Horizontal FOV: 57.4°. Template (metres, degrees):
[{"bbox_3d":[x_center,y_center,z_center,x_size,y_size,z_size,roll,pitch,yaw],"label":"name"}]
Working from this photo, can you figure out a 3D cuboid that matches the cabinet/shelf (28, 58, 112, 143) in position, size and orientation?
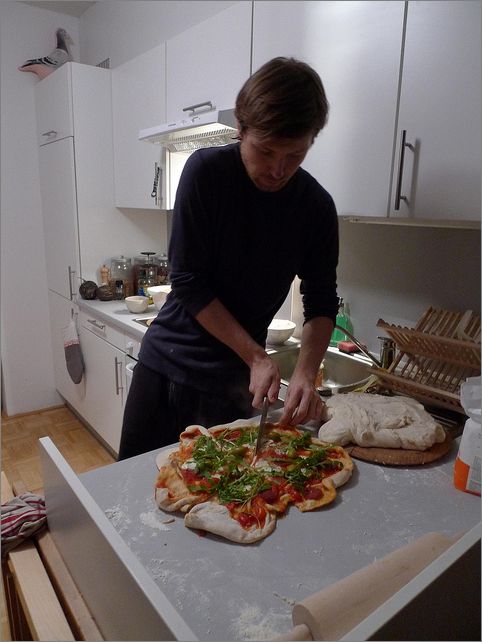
[{"bbox_3d":[-1.090,-1.332,2.740,0.652,0.401,0.240,13,18,36],"label":"cabinet/shelf"}]

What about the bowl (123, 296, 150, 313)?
[{"bbox_3d":[-0.579,-0.116,2.440,0.094,0.073,0.099,6,18,-2],"label":"bowl"}]

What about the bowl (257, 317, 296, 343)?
[{"bbox_3d":[0.176,0.033,1.890,0.103,0.058,0.107,1,32,-1],"label":"bowl"}]

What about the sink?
[{"bbox_3d":[0.321,0.184,1.761,0.249,0.106,0.204,14,25,34],"label":"sink"}]

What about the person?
[{"bbox_3d":[-0.031,-0.072,1.200,0.608,1.046,0.478,8,16,27],"label":"person"}]

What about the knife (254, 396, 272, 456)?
[{"bbox_3d":[0.053,0.215,0.982,0.018,0.165,0.009,20,-22,-17],"label":"knife"}]
